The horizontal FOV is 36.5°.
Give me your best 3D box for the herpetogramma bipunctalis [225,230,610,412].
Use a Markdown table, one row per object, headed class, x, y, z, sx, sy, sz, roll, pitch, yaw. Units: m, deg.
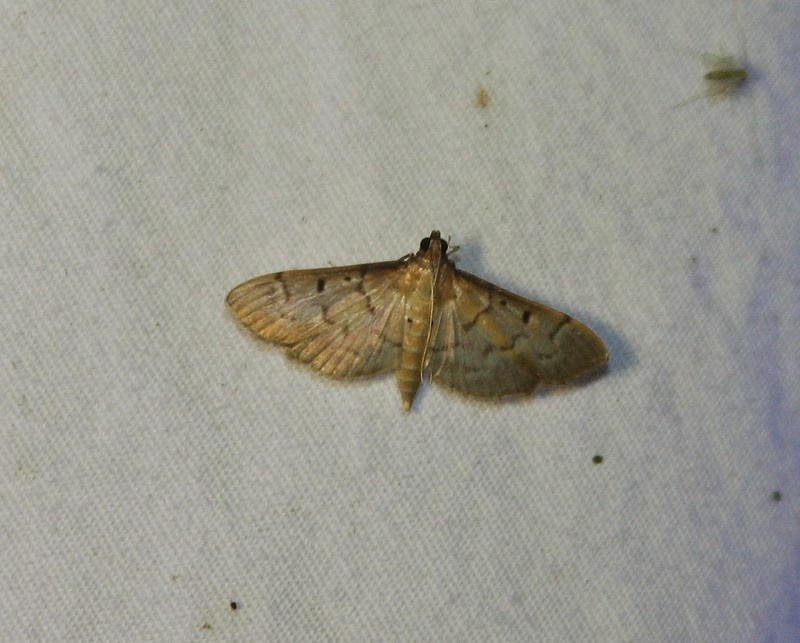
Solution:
| class | x | y | z | sx | sy | sz | roll | pitch | yaw |
| --- | --- | --- | --- | --- | --- | --- | --- | --- | --- |
| herpetogramma bipunctalis | 0.090 | 0.014 | 6.142 | 1.786 | 0.736 | 0.315 | 0 | 31 | 3 |
